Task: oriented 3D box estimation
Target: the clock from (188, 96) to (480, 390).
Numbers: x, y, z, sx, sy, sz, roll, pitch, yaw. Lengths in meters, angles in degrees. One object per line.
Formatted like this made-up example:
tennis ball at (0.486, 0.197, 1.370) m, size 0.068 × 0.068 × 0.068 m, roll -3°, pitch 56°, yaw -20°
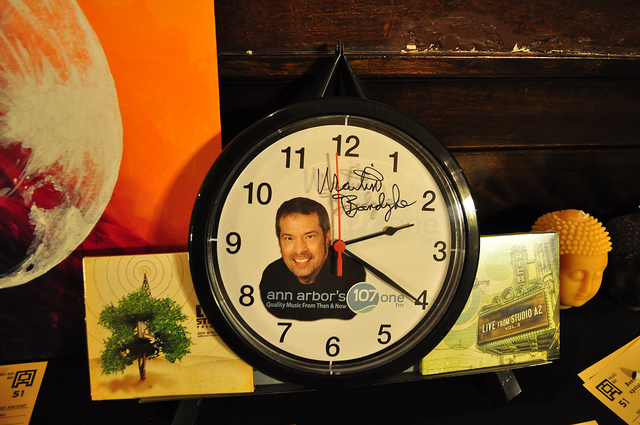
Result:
clock at (0.034, 0.112, 1.683) m, size 0.933 × 0.096 × 0.845 m, roll -2°, pitch 90°, yaw 2°
